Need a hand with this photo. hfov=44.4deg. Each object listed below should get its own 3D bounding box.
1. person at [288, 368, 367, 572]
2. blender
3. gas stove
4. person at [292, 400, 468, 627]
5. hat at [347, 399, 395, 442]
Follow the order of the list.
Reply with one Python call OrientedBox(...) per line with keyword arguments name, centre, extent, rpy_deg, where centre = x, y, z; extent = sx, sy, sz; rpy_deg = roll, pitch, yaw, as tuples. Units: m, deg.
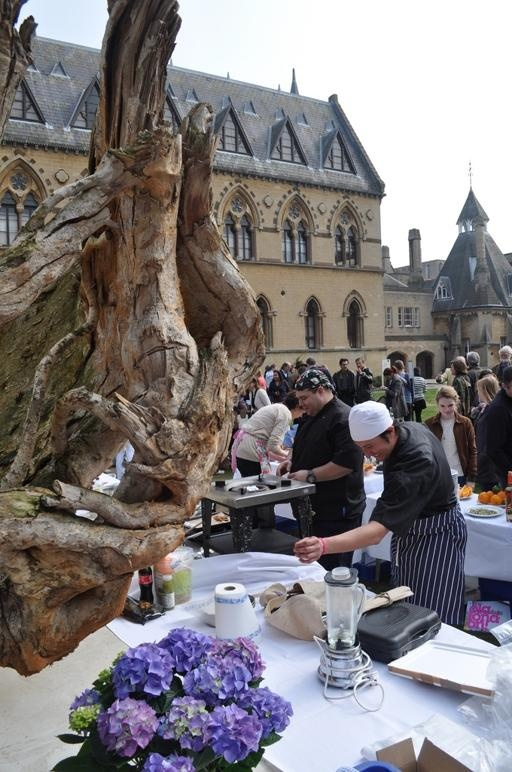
OrientedBox(name="person", centre=(0.459, 0.527, 4.299), extent=(0.497, 1.434, 0.496), rpy_deg=(-1, 1, -33))
OrientedBox(name="blender", centre=(0.238, 0.726, 2.016), extent=(0.175, 0.345, 0.237), rpy_deg=(10, 13, 34))
OrientedBox(name="gas stove", centre=(-0.017, 0.865, 4.114), extent=(0.701, 0.516, 0.717), rpy_deg=(1, 7, 30))
OrientedBox(name="person", centre=(0.484, 0.506, 3.076), extent=(0.804, 1.179, 0.781), rpy_deg=(-5, 14, -44))
OrientedBox(name="hat", centre=(0.528, 0.159, 2.894), extent=(0.180, 0.185, 0.167), rpy_deg=(-1, 4, 25))
